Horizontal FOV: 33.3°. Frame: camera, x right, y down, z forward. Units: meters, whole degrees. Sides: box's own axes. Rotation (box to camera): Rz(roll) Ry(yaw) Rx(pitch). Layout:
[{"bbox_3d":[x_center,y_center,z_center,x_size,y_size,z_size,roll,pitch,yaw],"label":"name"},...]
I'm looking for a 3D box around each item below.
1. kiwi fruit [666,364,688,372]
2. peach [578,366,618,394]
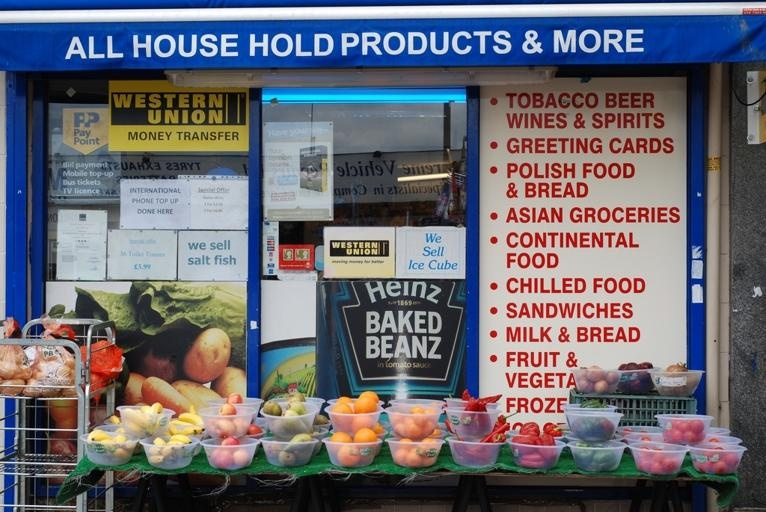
[{"bbox_3d":[2.526,0.953,10.979,0.099,0.049,0.100,-3,-2,32],"label":"kiwi fruit"},{"bbox_3d":[1.824,1.055,10.934,0.255,0.124,0.248,0,-4,10],"label":"peach"}]
